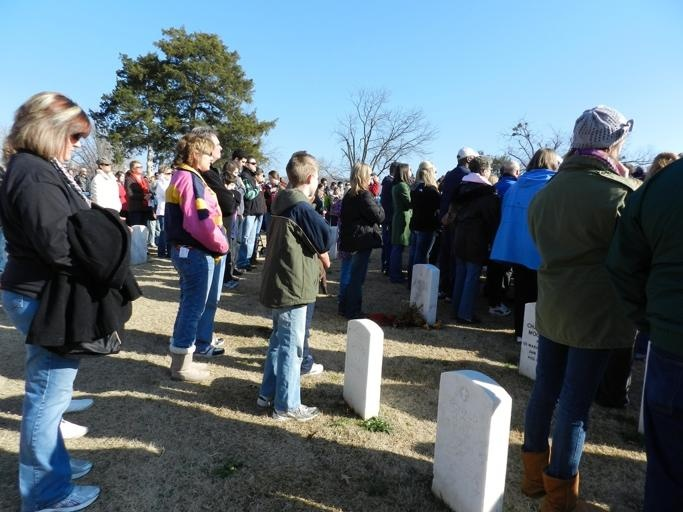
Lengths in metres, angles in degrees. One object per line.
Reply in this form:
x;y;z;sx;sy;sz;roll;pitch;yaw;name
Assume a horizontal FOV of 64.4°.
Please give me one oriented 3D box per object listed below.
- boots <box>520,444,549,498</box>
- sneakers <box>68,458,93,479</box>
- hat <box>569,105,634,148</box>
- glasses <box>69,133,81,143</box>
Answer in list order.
1.446;1.530;3.895;0.182;0.348;0.327;4;7;41;boots
-1.880;1.547;3.916;0.194;0.083;0.086;0;14;-16;sneakers
1.810;-0.914;3.783;0.416;0.254;0.307;-19;23;-12;hat
-1.714;-0.764;3.467;0.048;0.039;0.050;-3;27;-15;glasses
